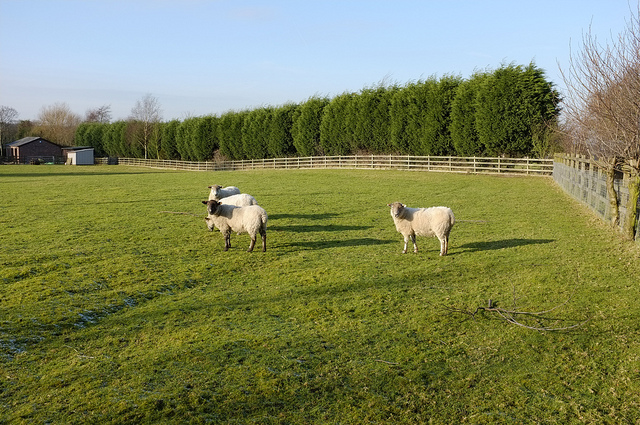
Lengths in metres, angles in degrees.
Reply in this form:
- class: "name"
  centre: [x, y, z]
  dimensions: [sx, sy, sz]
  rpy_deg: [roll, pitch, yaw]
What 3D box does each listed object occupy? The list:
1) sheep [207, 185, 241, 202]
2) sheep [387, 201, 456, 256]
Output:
- class: "sheep"
  centre: [-3.942, -0.781, 18.845]
  dimensions: [0.563, 1.063, 2.020]
  rpy_deg: [-1, 3, 16]
- class: "sheep"
  centre: [2.750, 0.443, 13.255]
  dimensions: [1.865, 1.486, 0.912]
  rpy_deg: [2, 4, 19]
